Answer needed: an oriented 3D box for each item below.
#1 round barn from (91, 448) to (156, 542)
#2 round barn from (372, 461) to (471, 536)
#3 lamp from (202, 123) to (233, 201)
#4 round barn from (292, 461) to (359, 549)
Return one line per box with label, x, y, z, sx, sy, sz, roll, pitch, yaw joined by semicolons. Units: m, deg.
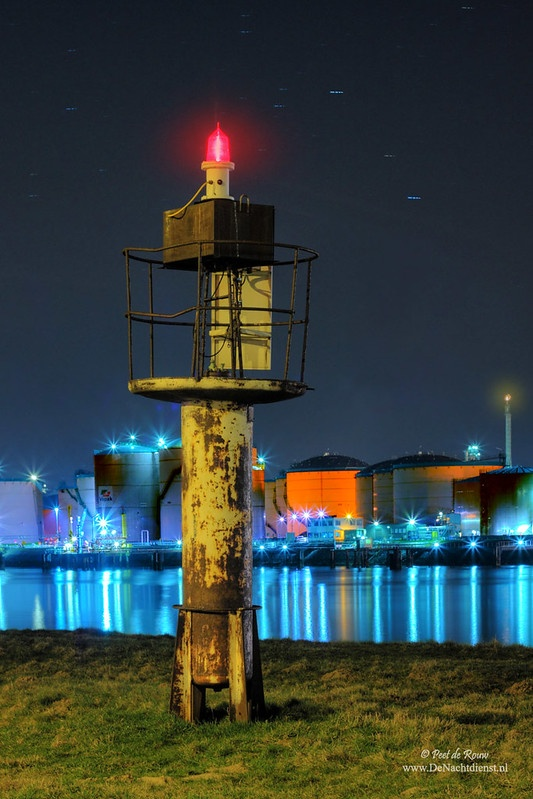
round barn;-10.548;6.780;123.593;4.974;10.068;5.365;0;0;0
round barn;12.344;7.084;133.858;5.247;6.757;6.324;0;-6;-1
lamp;-0.698;-3.203;22.944;0.386;1.108;0.405;1;-4;-9
round barn;5.316;8.447;156.035;6.899;9.438;7.959;0;-5;-1
